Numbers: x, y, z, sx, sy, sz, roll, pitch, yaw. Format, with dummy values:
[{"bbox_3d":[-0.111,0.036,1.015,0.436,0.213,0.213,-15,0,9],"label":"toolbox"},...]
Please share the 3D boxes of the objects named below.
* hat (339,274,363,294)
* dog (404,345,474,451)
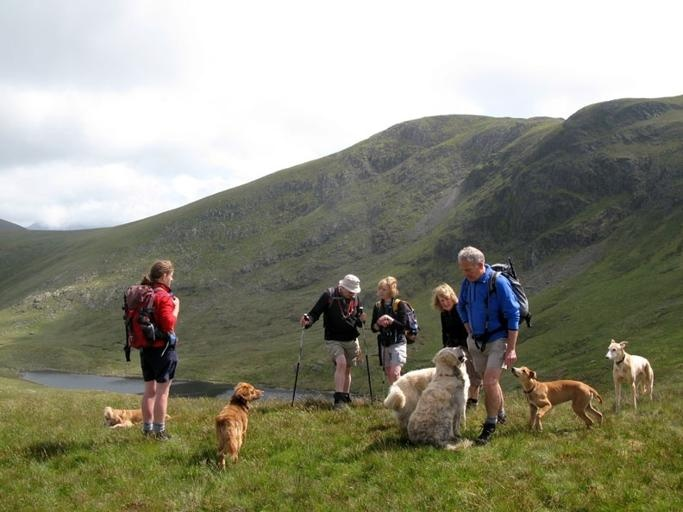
[{"bbox_3d":[0.371,0.978,22.921,0.783,0.373,0.642,15,19,-1],"label":"hat"},{"bbox_3d":[2.869,4.216,19.601,1.682,2.702,2.030,-5,-2,44],"label":"dog"}]
